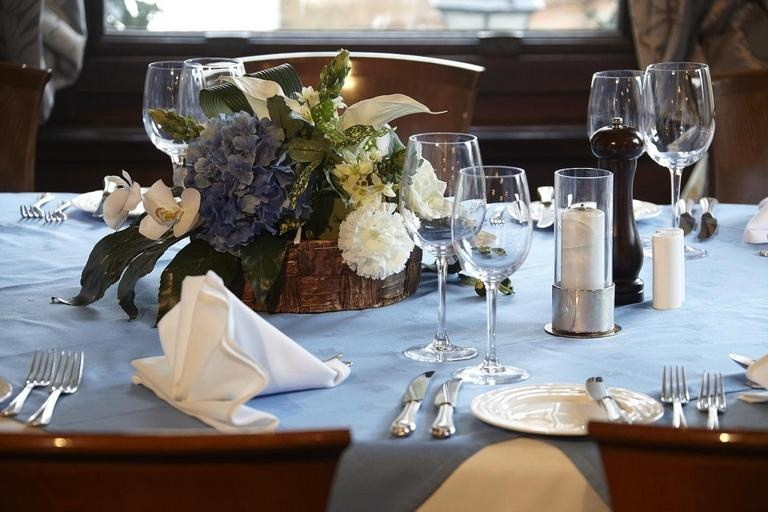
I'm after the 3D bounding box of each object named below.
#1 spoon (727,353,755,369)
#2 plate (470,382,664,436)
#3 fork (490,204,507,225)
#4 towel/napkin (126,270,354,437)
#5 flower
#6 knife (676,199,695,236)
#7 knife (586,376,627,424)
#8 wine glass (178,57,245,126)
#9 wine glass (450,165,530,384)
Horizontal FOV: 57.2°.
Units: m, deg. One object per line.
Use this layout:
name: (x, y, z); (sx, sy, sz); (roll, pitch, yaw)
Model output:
spoon: (0.487, 0.144, 0.965); (0.031, 0.014, 0.063); (3, 2, 26)
plate: (0.193, 0.181, 0.840); (0.130, 0.013, 0.133); (-6, 11, 23)
fork: (0.150, -0.053, 0.910); (0.023, 0.023, 0.006); (-4, 14, -17)
towel/napkin: (-0.184, 0.107, 0.859); (0.202, 0.106, 0.176); (19, 20, 8)
flower: (-0.199, -0.039, 1.256); (0.483, 0.249, 0.596); (2, -1, 18)
knife: (0.638, -0.080, 1.499); (0.032, 0.043, 0.107); (1, 48, 17)
knife: (0.269, 0.174, 0.857); (0.018, 0.023, 0.060); (-32, 25, 9)
wine glass: (-0.301, -0.294, 1.313); (0.134, 0.136, 0.136); (1, 12, -2)
wine glass: (0.143, 0.025, 0.945); (0.109, 0.287, 0.064); (1, 3, -19)
